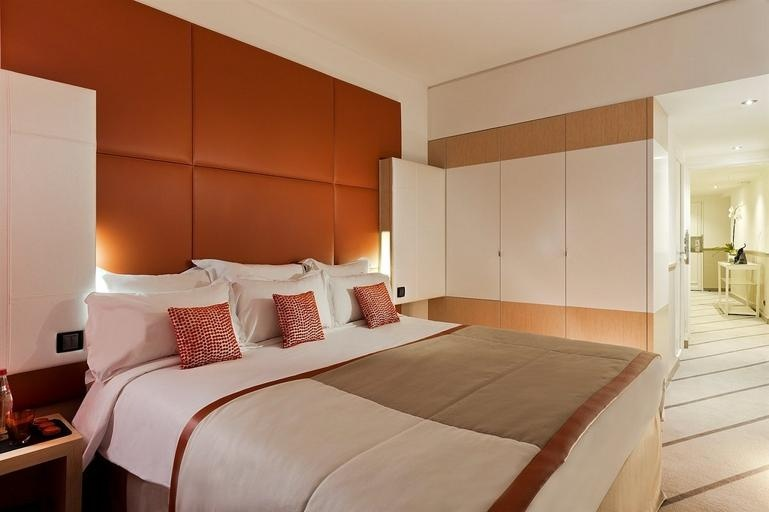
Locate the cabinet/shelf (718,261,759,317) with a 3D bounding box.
[{"bbox_3d":[6.290,0.601,8.687,0.318,0.679,0.909,0,2,24],"label":"cabinet/shelf"}]

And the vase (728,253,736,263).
[{"bbox_3d":[6.522,0.036,9.198,0.097,0.190,0.192,-3,-5,32],"label":"vase"}]

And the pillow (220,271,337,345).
[{"bbox_3d":[-0.886,0.511,4.169,0.278,0.588,0.902,-15,-16,38],"label":"pillow"}]

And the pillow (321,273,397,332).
[{"bbox_3d":[-0.412,0.394,4.681,0.213,0.445,0.722,-25,1,5],"label":"pillow"}]

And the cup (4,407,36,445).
[{"bbox_3d":[-2.285,1.061,3.072,0.141,0.211,0.174,-6,3,-41],"label":"cup"}]

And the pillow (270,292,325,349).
[{"bbox_3d":[-0.663,0.462,3.930,0.506,0.489,0.152,-9,4,22],"label":"pillow"}]
